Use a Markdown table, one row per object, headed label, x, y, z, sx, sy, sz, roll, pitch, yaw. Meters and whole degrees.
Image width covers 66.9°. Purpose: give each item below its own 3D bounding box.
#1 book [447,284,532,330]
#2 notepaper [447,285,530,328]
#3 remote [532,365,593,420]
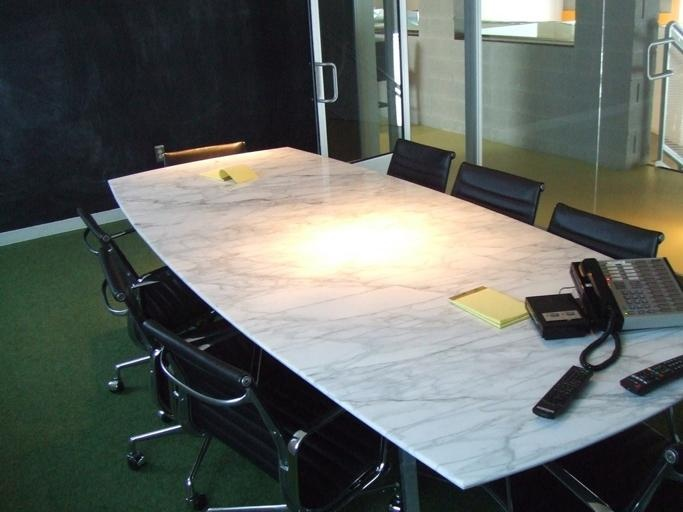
| label | x | y | z | sx | sy | sz | roll | pitch | yaw |
| --- | --- | --- | --- | --- | --- | --- | --- | --- | --- |
| book | 0.547 | 0.176 | 1.888 | 0.187 | 0.041 | 0.257 | -21 | 32 | -37 |
| notepaper | 0.547 | 0.176 | 1.888 | 0.187 | 0.041 | 0.257 | -21 | 32 | -37 |
| remote | 0.636 | 0.393 | 1.481 | 0.254 | 0.046 | 0.066 | -22 | 32 | -38 |
